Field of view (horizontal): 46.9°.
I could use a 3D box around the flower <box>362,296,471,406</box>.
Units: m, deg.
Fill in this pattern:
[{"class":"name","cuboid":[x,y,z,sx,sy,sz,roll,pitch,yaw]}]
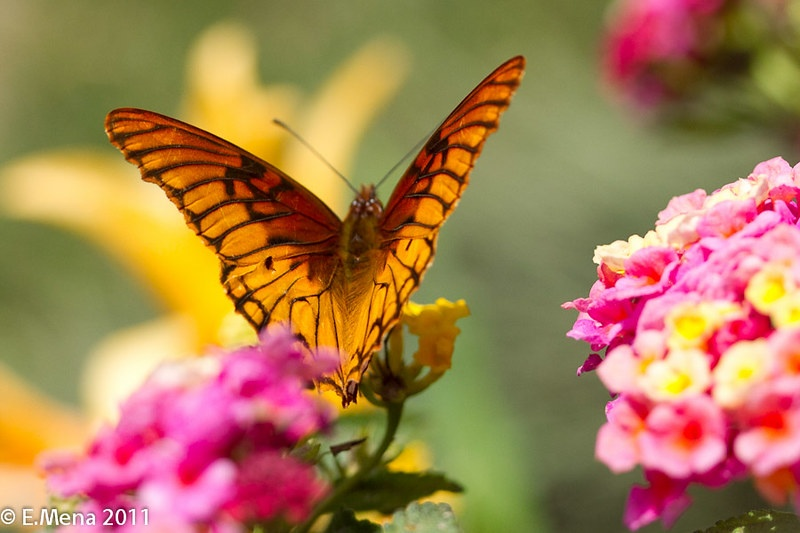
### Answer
[{"class":"flower","cuboid":[0.021,0.133,1.552,0.215,0.145,0.069,-27,-25,3]}]
